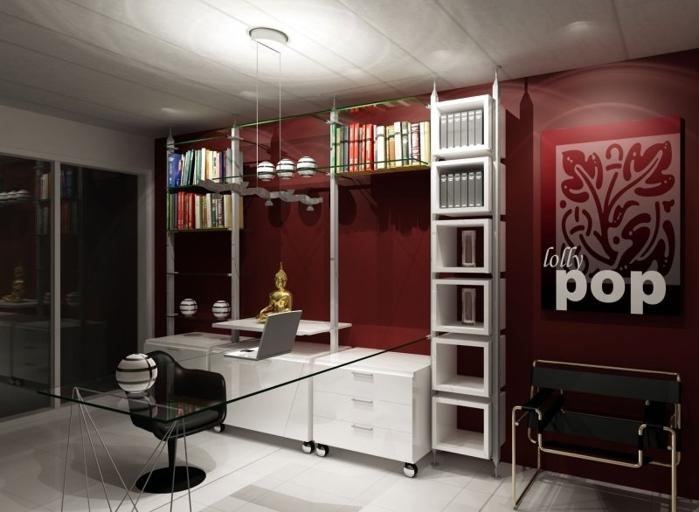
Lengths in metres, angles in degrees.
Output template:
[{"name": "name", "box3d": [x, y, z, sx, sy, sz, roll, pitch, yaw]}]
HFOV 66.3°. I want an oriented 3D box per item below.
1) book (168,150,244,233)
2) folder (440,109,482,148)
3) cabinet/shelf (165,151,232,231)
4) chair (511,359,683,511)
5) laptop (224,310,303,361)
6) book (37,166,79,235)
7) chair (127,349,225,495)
[{"name": "book", "box3d": [-1.437, -0.672, 5.436, 0.872, 0.882, 0.304, 2, 1, 33]}, {"name": "folder", "box3d": [0.899, -1.011, 4.279, 0.340, 0.312, 0.179, 0, 0, 24]}, {"name": "cabinet/shelf", "box3d": [-1.518, -0.675, 5.473, 0.842, 0.816, 0.271, 1, 1, 34]}, {"name": "chair", "box3d": [1.884, 1.344, 3.972, 0.988, 0.931, 0.601, -2, -5, 28]}, {"name": "laptop", "box3d": [-0.610, 0.571, 3.943, 0.356, 0.292, 0.416, -2, -4, 21]}, {"name": "book", "box3d": [-3.022, -0.604, 5.631, 0.107, 0.755, 0.408, 4, 9, 31]}, {"name": "chair", "box3d": [-1.177, 1.075, 3.480, 0.482, 0.773, 0.590, 4, 4, 30]}]
